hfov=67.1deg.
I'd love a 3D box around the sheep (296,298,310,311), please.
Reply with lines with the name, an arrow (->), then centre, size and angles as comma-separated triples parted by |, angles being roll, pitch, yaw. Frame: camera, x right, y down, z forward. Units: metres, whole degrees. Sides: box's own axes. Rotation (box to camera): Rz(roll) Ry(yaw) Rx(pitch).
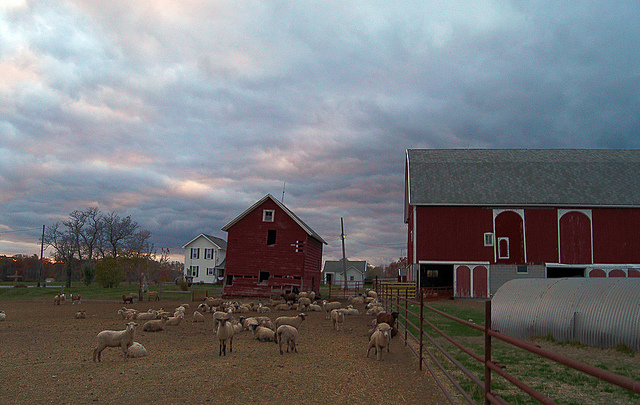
sheep -> -1.060, 7.014, 33.234 | 0.829, 0.852, 1.026 | 1, -12, -3

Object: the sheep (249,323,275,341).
sheep -> -2.782, 6.271, 23.211 | 1.080, 0.496, 0.588 | -3, -8, 39

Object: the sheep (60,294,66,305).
sheep -> -19.965, 7.517, 37.484 | 0.364, 0.672, 1.894 | 7, -13, -27

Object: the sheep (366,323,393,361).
sheep -> 2.497, 5.712, 19.681 | 0.594, 1.437, 1.029 | 6, -13, -25

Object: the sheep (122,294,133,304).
sheep -> -14.987, 7.575, 37.760 | 0.664, 0.682, 1.850 | 5, -13, -21

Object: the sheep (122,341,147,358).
sheep -> -7.473, 6.006, 19.757 | 0.596, 0.308, 0.586 | 7, -10, -36

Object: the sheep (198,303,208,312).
sheep -> -7.428, 6.746, 30.918 | 0.414, 0.402, 0.593 | 0, -6, 12

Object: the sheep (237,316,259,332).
sheep -> -3.610, 6.189, 24.519 | 1.559, 0.634, 0.501 | 1, -2, 34

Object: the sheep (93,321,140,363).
sheep -> -8.094, 5.612, 19.410 | 2.085, 1.538, 0.803 | -5, -13, 17

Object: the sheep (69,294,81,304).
sheep -> -18.434, 7.362, 36.553 | 0.574, 0.608, 1.296 | 7, -13, -28

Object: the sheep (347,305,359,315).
sheep -> 2.205, 7.061, 31.369 | 0.311, 0.429, 0.864 | 6, 2, -44

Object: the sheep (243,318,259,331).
sheep -> -3.520, 6.186, 24.575 | 0.496, 0.483, 0.957 | 5, 5, -15

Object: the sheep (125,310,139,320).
sheep -> -10.801, 6.497, 27.798 | 0.917, 0.446, 0.318 | -10, -15, 40

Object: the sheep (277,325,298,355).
sheep -> -1.349, 5.937, 21.056 | 0.542, 1.302, 1.988 | -5, -19, 24

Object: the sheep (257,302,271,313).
sheep -> -3.567, 6.834, 31.359 | 0.831, 0.606, 0.595 | 4, -8, -10

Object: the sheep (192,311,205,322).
sheep -> -6.980, 6.588, 27.883 | 0.721, 0.426, 0.432 | 7, 3, 44

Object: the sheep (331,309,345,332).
sheep -> 0.962, 6.252, 25.657 | 0.619, 1.031, 1.486 | 1, -12, 0

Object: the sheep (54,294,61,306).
sheep -> -20.007, 7.450, 36.886 | 0.430, 0.655, 1.429 | 7, -13, -29

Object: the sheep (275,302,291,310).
sheep -> -2.433, 7.160, 33.294 | 1.247, 0.482, 0.431 | -2, -8, 13

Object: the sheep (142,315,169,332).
sheep -> -8.521, 6.233, 24.912 | 0.874, 0.819, 0.930 | -4, -13, 21

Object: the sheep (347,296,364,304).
sheep -> 2.652, 7.692, 37.931 | 1.450, 0.657, 0.510 | 1, -4, 16

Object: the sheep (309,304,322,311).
sheep -> -0.270, 7.148, 32.838 | 0.673, 0.419, 0.994 | -2, -12, 12

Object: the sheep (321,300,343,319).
sheep -> 1.186, 6.394, 29.087 | 1.844, 1.097, 0.640 | 5, -14, -17
